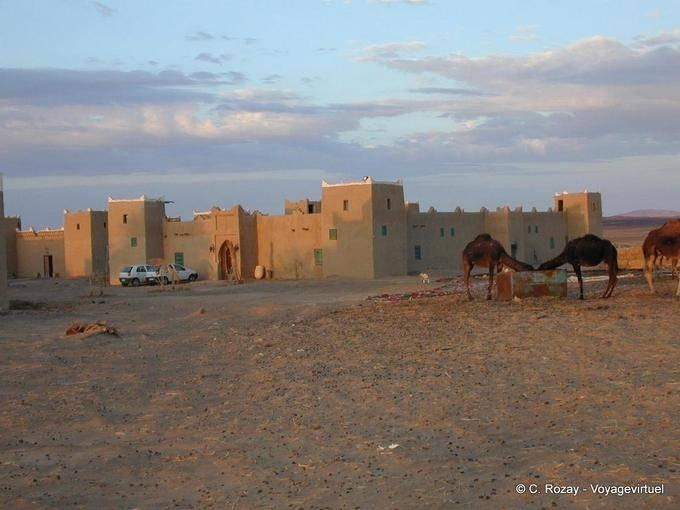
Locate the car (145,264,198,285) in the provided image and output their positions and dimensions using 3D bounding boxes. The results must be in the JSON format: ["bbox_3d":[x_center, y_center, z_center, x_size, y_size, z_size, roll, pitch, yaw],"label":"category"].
[{"bbox_3d":[-7.841,0.928,39.141,0.957,0.681,1.951,5,8,44],"label":"car"}]
